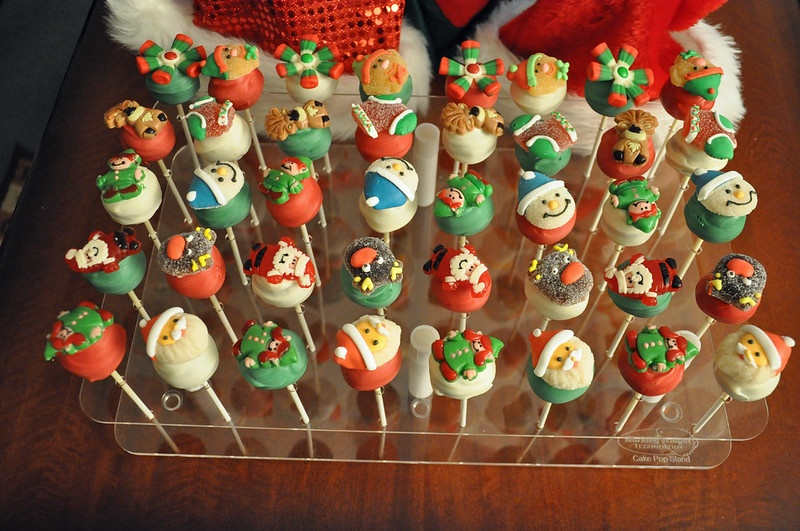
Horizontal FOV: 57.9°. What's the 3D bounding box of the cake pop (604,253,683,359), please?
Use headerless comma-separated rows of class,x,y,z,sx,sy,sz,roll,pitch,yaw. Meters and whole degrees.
cake pop,0.645,0.162,2.009,0.192,0.366,0.213,12,70,9

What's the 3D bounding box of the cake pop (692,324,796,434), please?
cake pop,0.919,0.257,1.913,0.162,0.195,0.115,20,37,24

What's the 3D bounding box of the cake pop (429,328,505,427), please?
cake pop,0.170,0.265,1.915,0.185,0.174,0.115,4,33,2

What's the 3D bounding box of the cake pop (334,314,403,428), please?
cake pop,-0.084,0.236,1.932,0.165,0.201,0.119,3,33,0

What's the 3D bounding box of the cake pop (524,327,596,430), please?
cake pop,0.440,0.255,1.969,0.191,0.389,0.191,9,56,21

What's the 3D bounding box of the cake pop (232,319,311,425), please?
cake pop,-0.348,0.236,1.935,0.187,0.163,0.114,-2,34,-7

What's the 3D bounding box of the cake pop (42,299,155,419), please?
cake pop,-0.832,0.200,1.929,0.179,0.183,0.131,-6,34,-12

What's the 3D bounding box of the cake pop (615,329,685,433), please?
cake pop,0.676,0.253,1.936,0.169,0.175,0.115,11,34,12

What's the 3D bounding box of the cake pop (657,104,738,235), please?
cake pop,0.865,-0.271,2.115,0.185,0.368,0.194,35,73,22
